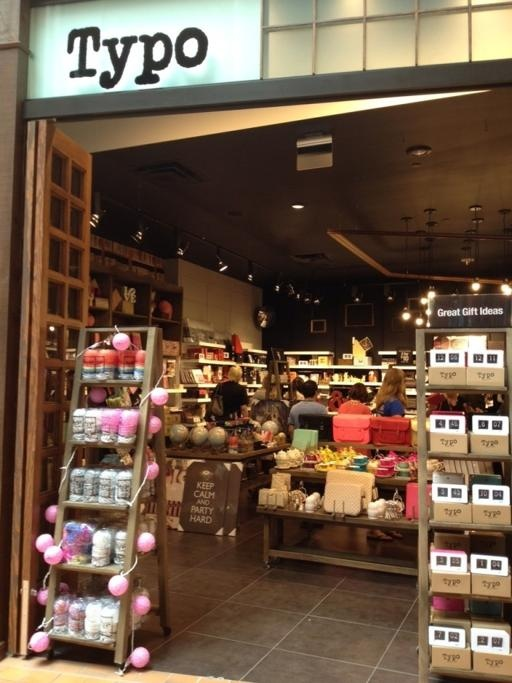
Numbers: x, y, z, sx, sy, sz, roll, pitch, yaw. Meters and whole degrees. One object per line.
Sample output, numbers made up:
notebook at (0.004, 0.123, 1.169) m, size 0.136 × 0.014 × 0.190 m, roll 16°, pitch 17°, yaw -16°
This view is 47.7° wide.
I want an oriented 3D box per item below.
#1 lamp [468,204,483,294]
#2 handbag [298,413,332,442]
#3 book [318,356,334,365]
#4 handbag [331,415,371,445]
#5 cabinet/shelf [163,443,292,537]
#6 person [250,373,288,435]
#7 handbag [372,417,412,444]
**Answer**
lamp at (3.345, -1.220, 8.950) m, size 0.215 × 0.924 × 3.799 m, roll 0°, pitch -5°, yaw 20°
handbag at (0.532, 0.779, 5.334) m, size 0.318 × 0.268 × 0.212 m, roll -6°, pitch -15°, yaw 30°
book at (1.571, 0.458, 13.130) m, size 0.281 × 0.261 × 0.200 m, roll 3°, pitch -6°, yaw -4°
handbag at (0.806, 0.758, 4.979) m, size 0.373 × 0.267 × 0.226 m, roll -2°, pitch -10°, yaw 21°
cabinet/shelf at (-0.367, 1.505, 6.101) m, size 0.872 × 0.638 × 0.881 m, roll -2°, pitch -8°, yaw 24°
person at (0.174, 0.842, 7.915) m, size 0.503 × 0.812 × 1.504 m, roll 1°, pitch -5°, yaw -1°
handbag at (1.125, 0.766, 4.904) m, size 0.333 × 0.229 × 0.222 m, roll 1°, pitch 1°, yaw 20°
